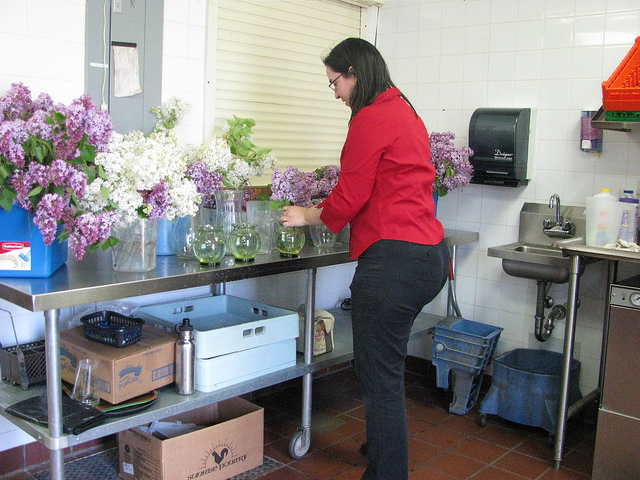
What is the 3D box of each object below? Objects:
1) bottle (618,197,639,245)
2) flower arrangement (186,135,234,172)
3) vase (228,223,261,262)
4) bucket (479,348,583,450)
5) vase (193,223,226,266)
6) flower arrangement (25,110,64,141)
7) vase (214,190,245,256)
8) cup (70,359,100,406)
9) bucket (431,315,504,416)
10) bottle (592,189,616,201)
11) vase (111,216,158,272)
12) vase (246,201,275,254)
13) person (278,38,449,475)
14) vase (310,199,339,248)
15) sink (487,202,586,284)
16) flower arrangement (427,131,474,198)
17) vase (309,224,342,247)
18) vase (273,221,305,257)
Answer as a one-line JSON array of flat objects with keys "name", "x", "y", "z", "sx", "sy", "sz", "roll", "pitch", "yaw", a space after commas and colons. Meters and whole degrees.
[{"name": "bottle", "x": 1.905, "y": -0.129, "z": 3.140, "sx": 0.108, "sy": 0.255, "sz": 0.201, "roll": 5, "pitch": 12, "yaw": 31}, {"name": "flower arrangement", "x": -0.592, "y": -0.472, "z": 2.734, "sx": 0.216, "sy": 0.135, "sz": 0.175, "roll": 12, "pitch": 23, "yaw": 17}, {"name": "vase", "x": -0.425, "y": 0.009, "z": 2.780, "sx": 0.185, "sy": 0.197, "sz": 0.162, "roll": -1, "pitch": 10, "yaw": -1}, {"name": "bucket", "x": 1.473, "y": 1.053, "z": 3.542, "sx": 0.538, "sy": 0.499, "sz": 0.686, "roll": 8, "pitch": 14, "yaw": 40}, {"name": "vase", "x": -0.590, "y": 0.023, "z": 2.680, "sx": 0.172, "sy": 0.200, "sz": 0.162, "roll": -2, "pitch": 10, "yaw": -8}, {"name": "flower arrangement", "x": -1.075, "y": -0.444, "z": 1.964, "sx": 0.158, "sy": 0.116, "sz": 0.089, "roll": 8, "pitch": 14, "yaw": 40}, {"name": "vase", "x": -0.530, "y": -0.101, "z": 2.876, "sx": 0.188, "sy": 0.415, "sz": 0.190, "roll": 6, "pitch": -35, "yaw": -10}, {"name": "cup", "x": -1.096, "y": 0.671, "z": 2.383, "sx": 0.145, "sy": 0.211, "sz": 0.143, "roll": 1, "pitch": -9, "yaw": 0}, {"name": "bucket", "x": 1.117, "y": 0.919, "z": 4.082, "sx": 0.590, "sy": 0.894, "sz": 0.572, "roll": 3, "pitch": 7, "yaw": 0}, {"name": "bottle", "x": 1.800, "y": -0.279, "z": 3.206, "sx": 0.131, "sy": 0.133, "sz": 0.072, "roll": -2, "pitch": 3, "yaw": -31}, {"name": "vase", "x": -0.910, "y": -0.007, "z": 2.499, "sx": 0.184, "sy": 0.318, "sz": 0.210, "roll": 0, "pitch": 7, "yaw": -31}, {"name": "vase", "x": -0.353, "y": -0.122, "z": 3.094, "sx": 0.198, "sy": 0.365, "sz": 0.215, "roll": -5, "pitch": 32, "yaw": -13}, {"name": "person", "x": 0.293, "y": 0.083, "z": 2.413, "sx": 0.601, "sy": 2.039, "sz": 0.400, "roll": 2, "pitch": 10, "yaw": 15}, {"name": "vase", "x": 0.017, "y": -0.137, "z": 3.188, "sx": 0.211, "sy": 0.322, "sz": 0.210, "roll": -2, "pitch": 28, "yaw": -1}, {"name": "sink", "x": 1.586, "y": 0.034, "z": 3.577, "sx": 0.507, "sy": 0.620, "sz": 0.658, "roll": -6, "pitch": 11, "yaw": -43}, {"name": "flower arrangement", "x": 0.940, "y": -0.544, "z": 3.672, "sx": 0.300, "sy": 0.406, "sz": 0.340, "roll": 17, "pitch": 14, "yaw": 21}, {"name": "vase", "x": 0.037, "y": -0.028, "z": 3.206, "sx": 0.150, "sy": 0.179, "sz": 0.152, "roll": -1, "pitch": 0, "yaw": -22}, {"name": "vase", "x": -0.197, "y": 0.002, "z": 2.941, "sx": 0.180, "sy": 0.225, "sz": 0.187, "roll": 2, "pitch": 0, "yaw": 0}]
